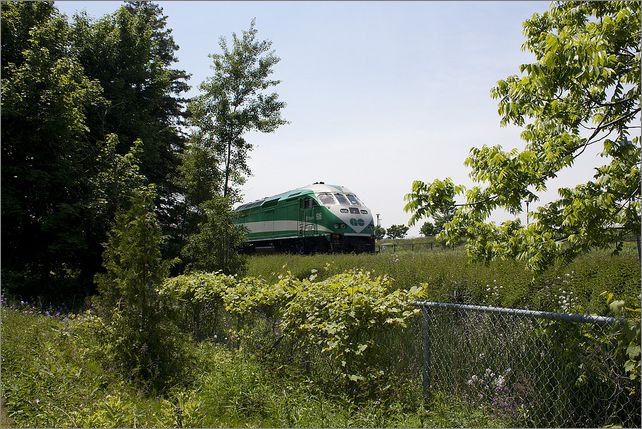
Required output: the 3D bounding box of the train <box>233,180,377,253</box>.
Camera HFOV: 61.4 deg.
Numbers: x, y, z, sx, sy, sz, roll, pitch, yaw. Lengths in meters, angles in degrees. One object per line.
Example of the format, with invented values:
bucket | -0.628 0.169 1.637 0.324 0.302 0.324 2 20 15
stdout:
train | -1.955 0.274 27.610 2.291 2.958 10.916 -22 8 -37
